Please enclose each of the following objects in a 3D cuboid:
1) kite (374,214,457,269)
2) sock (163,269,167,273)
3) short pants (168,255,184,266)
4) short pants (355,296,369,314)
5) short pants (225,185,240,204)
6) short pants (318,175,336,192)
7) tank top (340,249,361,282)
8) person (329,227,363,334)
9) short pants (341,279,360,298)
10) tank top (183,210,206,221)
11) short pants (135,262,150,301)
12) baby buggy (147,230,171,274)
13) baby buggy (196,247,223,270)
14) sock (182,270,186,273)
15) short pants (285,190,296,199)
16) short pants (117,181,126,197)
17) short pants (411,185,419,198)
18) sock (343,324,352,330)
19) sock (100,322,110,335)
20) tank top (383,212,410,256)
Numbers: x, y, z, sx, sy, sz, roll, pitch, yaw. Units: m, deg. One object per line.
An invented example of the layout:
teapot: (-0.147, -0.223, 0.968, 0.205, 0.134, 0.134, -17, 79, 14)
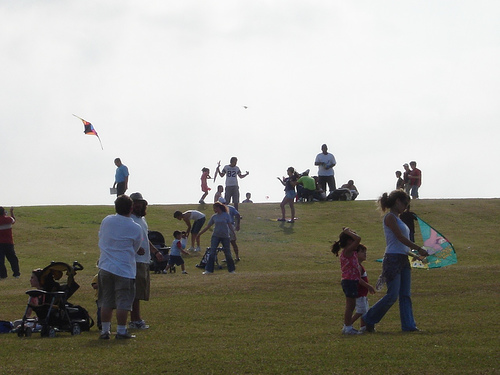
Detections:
kite: (4.568, 1.424, 25.138, 1.592, 1.591, 1.810, 0, -1, 9)
sock: (-2.515, 2.483, 28.208, 0.087, 0.096, 0.089, 2, -1, 8)
short pants: (-2.195, 2.145, 28.161, 0.441, 0.424, 0.248, 2, -4, 10)
short pants: (2.538, 2.626, 21.082, 0.292, 0.511, 0.420, 5, -11, -4)
short pants: (-0.672, 0.287, 35.796, 0.512, 0.701, 0.455, -2, 7, -5)
short pants: (3.339, -0.164, 40.899, 0.688, 0.784, 0.862, -1, 7, 3)
tank top: (2.257, 1.700, 20.685, 0.527, 0.946, 0.659, -2, -2, 5)
person: (2.129, 2.071, 20.938, 0.757, 2.334, 1.172, -1, -13, 7)
short pants: (2.162, 2.136, 20.733, 0.331, 0.419, 0.458, -6, 2, -16)
tank top: (-1.753, 0.923, 30.851, 0.481, 0.199, 0.298, -5, -5, 24)
short pants: (-2.379, 2.078, 21.121, 0.432, 0.851, 0.178, -7, 9, -42)
baby buggy: (-2.692, 1.939, 28.368, 0.658, 1.191, 0.880, -2, 7, -6)
baby buggy: (-1.266, 2.126, 28.432, 0.739, 0.855, 0.686, 9, -2, 9)
sock: (-1.921, 2.455, 27.722, 0.066, 0.088, 0.048, 1, -13, -14)
short pants: (1.517, 0.283, 34.877, 0.418, 0.357, 0.362, -4, 8, -22)
short pants: (-4.786, 0.048, 35.086, 0.343, 0.526, 0.346, -1, 7, 3)
short pants: (7.179, 0.184, 41.200, 0.285, 0.582, 0.462, 0, 7, 6)
sock: (2.119, 3.045, 20.671, 0.221, 0.103, 0.115, 6, 10, 43)
sock: (-3.119, 3.046, 20.484, 0.137, 0.251, 0.247, -2, -7, -3)
tank top: (3.226, 1.037, 20.850, 0.558, 0.960, 0.361, 0, 7, 9)
